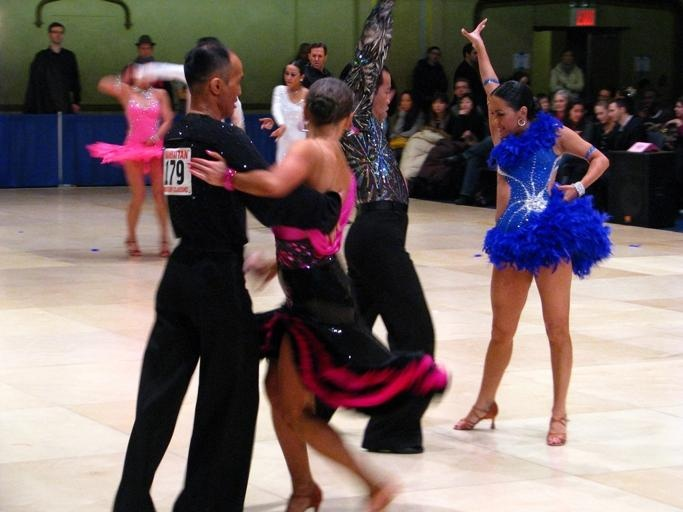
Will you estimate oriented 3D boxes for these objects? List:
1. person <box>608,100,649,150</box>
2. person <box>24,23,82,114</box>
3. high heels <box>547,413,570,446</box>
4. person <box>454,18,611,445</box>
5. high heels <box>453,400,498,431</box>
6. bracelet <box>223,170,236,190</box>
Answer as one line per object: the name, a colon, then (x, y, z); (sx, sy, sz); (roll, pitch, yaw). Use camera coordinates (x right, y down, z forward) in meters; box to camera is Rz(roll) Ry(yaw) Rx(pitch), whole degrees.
person: (5.338, -2.516, 12.458); (0.683, 0.970, 0.621); (8, 13, 35)
person: (-7.092, -4.627, 16.322); (1.245, 2.136, 0.791); (5, 11, 21)
high heels: (1.271, 1.010, 3.883); (0.115, 0.156, 0.218); (4, 10, 18)
person: (1.163, 0.027, 3.959); (0.777, 2.113, 0.625); (5, 11, 20)
high heels: (0.772, 0.993, 4.054); (0.368, 0.202, 0.122); (-1, -9, -6)
bracelet: (-0.407, -0.275, 2.399); (0.027, 0.061, 0.052); (5, 9, 9)
